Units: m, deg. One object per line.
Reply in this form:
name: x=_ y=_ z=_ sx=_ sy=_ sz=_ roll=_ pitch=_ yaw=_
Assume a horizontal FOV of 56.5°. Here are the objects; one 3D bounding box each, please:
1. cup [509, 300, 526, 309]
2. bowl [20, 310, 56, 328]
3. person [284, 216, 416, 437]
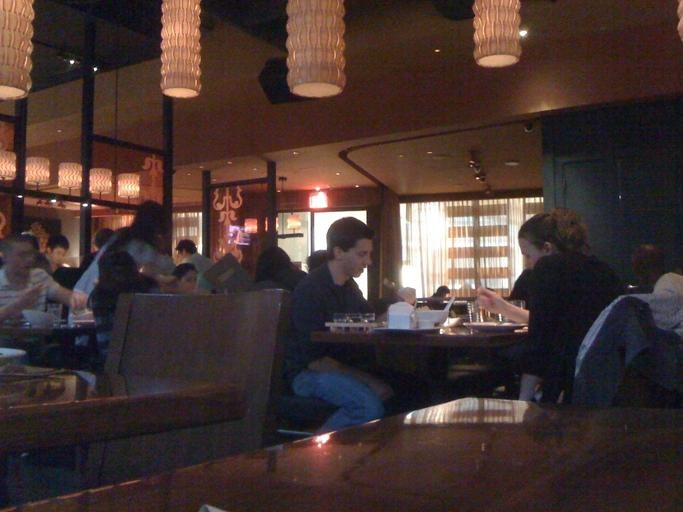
cup: x=0.969 y=0.265 z=3.537 sx=0.064 sy=0.061 sz=0.114 roll=-5 pitch=-12 yaw=10
bowl: x=-1.533 y=0.321 z=3.212 sx=0.112 sy=0.046 sz=0.101 roll=-8 pitch=-13 yaw=39
person: x=0.029 y=0.387 z=2.839 sx=0.612 sy=1.070 sz=0.484 roll=1 pitch=11 yaw=-3
